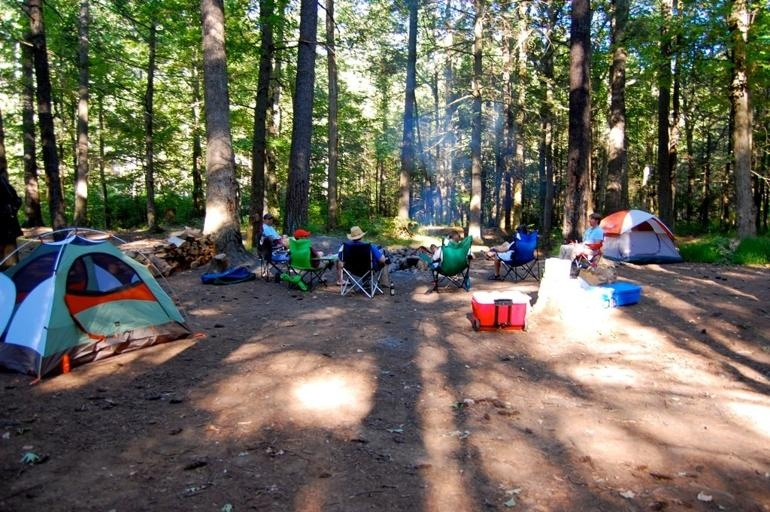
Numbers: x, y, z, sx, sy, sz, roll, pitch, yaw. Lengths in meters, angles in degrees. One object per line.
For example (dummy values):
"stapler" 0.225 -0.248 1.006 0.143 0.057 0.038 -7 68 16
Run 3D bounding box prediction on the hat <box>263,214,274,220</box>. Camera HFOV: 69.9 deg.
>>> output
"hat" -3.167 -1.087 14.960 0.259 0.211 0.200 -1 -25 5

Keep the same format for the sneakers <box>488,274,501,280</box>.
"sneakers" 3.004 0.581 15.068 0.411 0.173 0.161 2 1 2

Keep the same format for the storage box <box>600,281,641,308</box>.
"storage box" 5.347 0.877 12.408 0.775 0.367 0.588 -4 7 -35

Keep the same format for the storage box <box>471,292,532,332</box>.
"storage box" 2.454 1.197 11.874 1.208 0.808 0.436 -3 6 -8

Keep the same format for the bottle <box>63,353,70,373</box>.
"bottle" -5.777 1.968 10.012 0.119 0.318 0.158 -4 6 -18

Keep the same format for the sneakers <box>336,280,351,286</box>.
"sneakers" -1.022 0.687 13.856 0.321 0.133 0.137 -2 4 -27

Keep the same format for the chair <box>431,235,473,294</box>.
"chair" 1.703 0.197 13.905 0.906 1.370 1.459 -2 6 8

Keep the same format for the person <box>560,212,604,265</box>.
"person" 4.916 -0.347 13.942 1.125 1.386 1.094 -11 11 -40

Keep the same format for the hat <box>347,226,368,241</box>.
"hat" -0.679 -0.540 14.062 0.488 0.219 0.565 2 18 13

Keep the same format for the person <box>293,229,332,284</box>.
"person" -1.853 0.037 14.138 0.967 1.418 1.424 -3 6 -6
